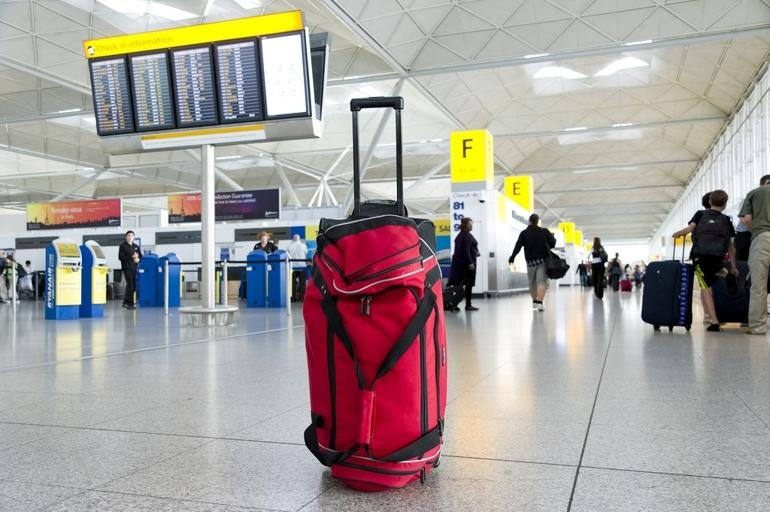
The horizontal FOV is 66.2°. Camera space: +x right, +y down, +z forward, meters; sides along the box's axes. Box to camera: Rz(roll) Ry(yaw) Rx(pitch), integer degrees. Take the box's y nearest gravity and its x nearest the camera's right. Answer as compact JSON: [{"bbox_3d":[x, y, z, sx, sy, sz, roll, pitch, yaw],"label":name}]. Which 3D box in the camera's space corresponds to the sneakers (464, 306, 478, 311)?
[{"bbox_3d":[2.025,1.240,13.854,0.380,0.155,0.120,1,-1,3],"label":"sneakers"}]

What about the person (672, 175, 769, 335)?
[{"bbox_3d":[5.064,0.025,8.768,1.072,2.214,0.911,-1,0,38],"label":"person"}]

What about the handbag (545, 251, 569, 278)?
[{"bbox_3d":[3.877,0.199,13.430,0.534,0.914,0.832,1,5,21],"label":"handbag"}]

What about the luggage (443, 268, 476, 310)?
[{"bbox_3d":[0.690,0.315,5.479,0.312,0.315,0.219,-3,-1,38],"label":"luggage"}]
